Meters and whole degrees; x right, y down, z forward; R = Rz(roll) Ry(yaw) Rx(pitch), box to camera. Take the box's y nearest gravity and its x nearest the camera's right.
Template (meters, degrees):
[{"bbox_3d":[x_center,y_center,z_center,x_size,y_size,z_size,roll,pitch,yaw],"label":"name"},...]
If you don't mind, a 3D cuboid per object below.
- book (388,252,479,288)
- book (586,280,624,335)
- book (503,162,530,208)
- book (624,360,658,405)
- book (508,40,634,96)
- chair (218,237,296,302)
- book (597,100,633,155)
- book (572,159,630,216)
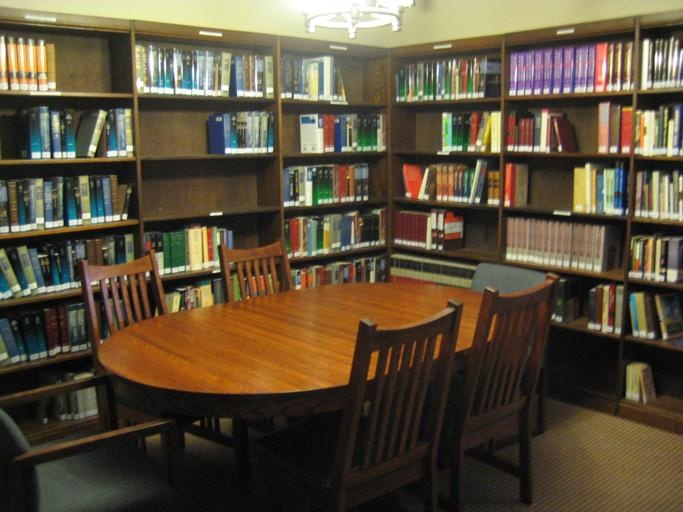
[{"bbox_3d":[0.616,0.088,4.345,0.665,0.229,0.228,9,6,33],"label":"book"},{"bbox_3d":[1.731,0.298,3.782,0.247,0.349,0.343,5,6,37],"label":"book"},{"bbox_3d":[1.253,-0.524,4.120,0.284,0.287,0.118,-11,15,-42],"label":"book"},{"bbox_3d":[1.957,0.815,3.686,0.243,0.223,0.144,-4,12,-19],"label":"book"},{"bbox_3d":[1.489,-1.233,3.737,0.152,0.281,0.789,-9,15,-38],"label":"book"},{"bbox_3d":[-0.546,0.086,3.631,0.315,0.609,0.348,-11,16,-39],"label":"chair"},{"bbox_3d":[1.740,-0.793,3.665,0.264,0.370,0.362,6,10,33],"label":"book"},{"bbox_3d":[1.684,-0.432,3.724,0.288,0.421,0.400,8,13,41],"label":"book"}]
